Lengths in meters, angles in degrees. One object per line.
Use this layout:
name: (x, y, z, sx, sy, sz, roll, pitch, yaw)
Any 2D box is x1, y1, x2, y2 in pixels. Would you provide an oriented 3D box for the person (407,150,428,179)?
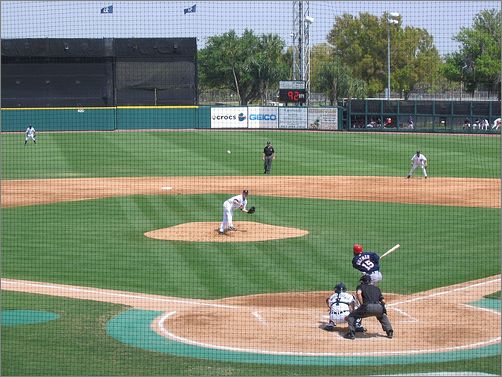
person: (9.596, -1.372, 49.029, 1.095, 1.628, 1.771, 2, 10, 12)

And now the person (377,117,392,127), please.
person: (11.450, -5.659, 73.693, 1.330, 0.858, 0.607, 1, 9, 8)

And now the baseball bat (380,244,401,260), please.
baseball bat: (5.549, 2.566, 34.199, 1.135, 0.165, 0.157, -34, -17, -30)

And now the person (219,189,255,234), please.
person: (-0.613, 1.056, 36.547, 1.321, 2.077, 1.001, 15, 11, 10)

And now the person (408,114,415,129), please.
person: (13.594, -5.533, 72.607, 0.432, 1.025, 1.153, 1, 10, 7)

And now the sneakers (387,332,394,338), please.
sneakers: (4.758, 5.009, 29.335, 0.147, 0.159, 0.163, 1, -4, -8)
